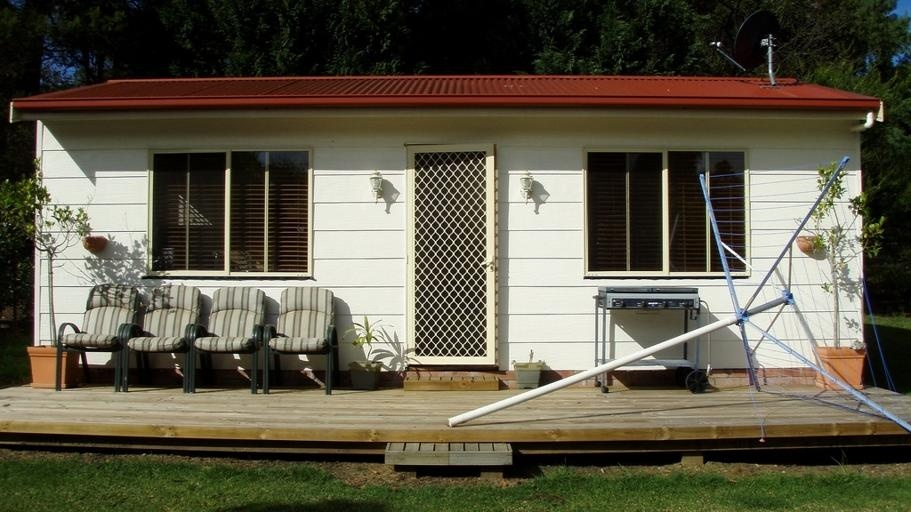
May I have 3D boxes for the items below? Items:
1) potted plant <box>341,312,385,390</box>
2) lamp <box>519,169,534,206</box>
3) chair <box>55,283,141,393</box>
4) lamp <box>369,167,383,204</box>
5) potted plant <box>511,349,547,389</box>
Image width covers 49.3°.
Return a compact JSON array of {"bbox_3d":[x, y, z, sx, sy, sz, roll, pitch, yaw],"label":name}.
[{"bbox_3d":[-1.635,1.717,17.967,0.618,1.312,0.260,-2,-3,-6],"label":"potted plant"},{"bbox_3d":[1.320,-1.269,18.042,0.268,0.527,0.114,-2,-3,4],"label":"lamp"},{"bbox_3d":[-6.479,1.431,17.817,1.396,1.914,0.647,-2,-3,-1],"label":"chair"},{"bbox_3d":[-1.458,-1.289,18.077,0.263,0.530,0.107,-2,-3,-1],"label":"lamp"},{"bbox_3d":[1.231,2.042,18.061,0.682,0.665,0.519,3,-9,-23],"label":"potted plant"}]
